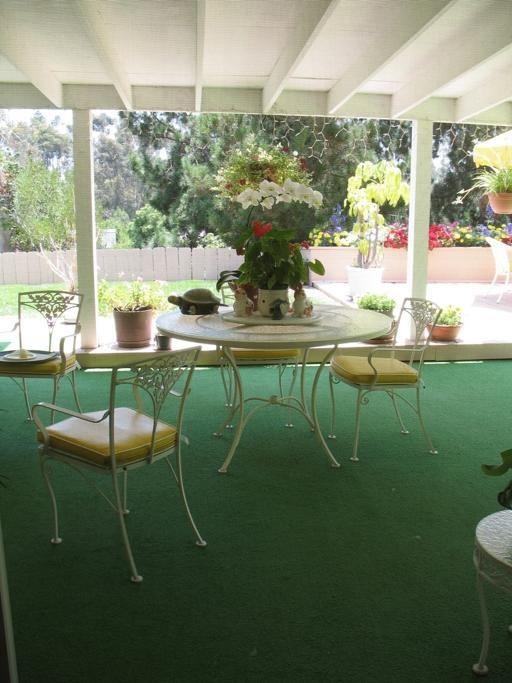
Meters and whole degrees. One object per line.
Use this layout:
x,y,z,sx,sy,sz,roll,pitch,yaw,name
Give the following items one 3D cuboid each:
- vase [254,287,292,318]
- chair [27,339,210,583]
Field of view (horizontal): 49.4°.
0.078,-0.205,2.918,0.161,0.125,0.150,1,13,4,vase
-0.609,0.536,2.439,0.684,0.926,0.621,13,18,34,chair
